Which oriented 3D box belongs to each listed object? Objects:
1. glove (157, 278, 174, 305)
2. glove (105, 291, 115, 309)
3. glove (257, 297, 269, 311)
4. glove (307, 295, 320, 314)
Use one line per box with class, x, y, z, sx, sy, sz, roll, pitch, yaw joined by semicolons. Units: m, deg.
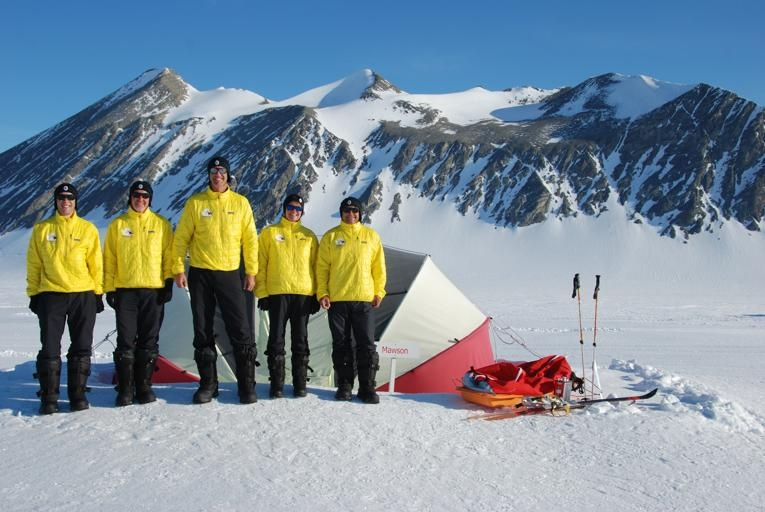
glove;-5.914;0.952;22.973;0.470;0.613;0.217;16;-11;-6
glove;-7.410;1.186;22.823;0.285;0.421;0.199;2;1;24
glove;-3.345;1.329;23.484;0.273;0.359;0.132;1;-1;28
glove;-1.975;1.381;23.669;0.394;0.452;0.404;2;4;4
